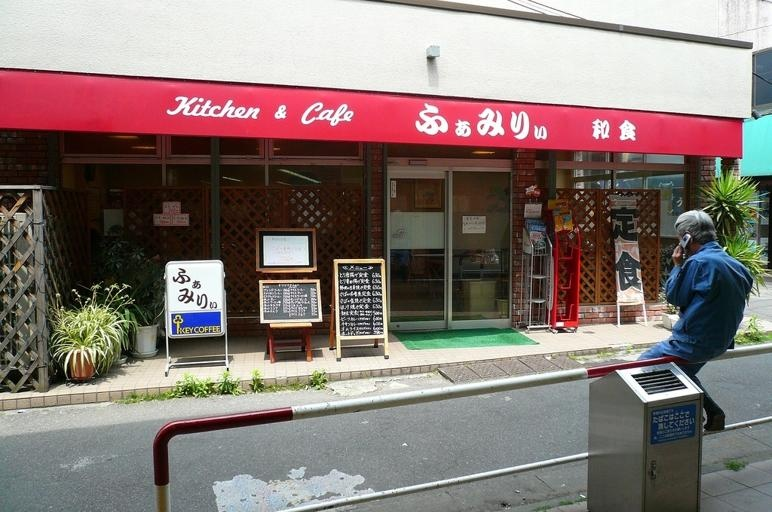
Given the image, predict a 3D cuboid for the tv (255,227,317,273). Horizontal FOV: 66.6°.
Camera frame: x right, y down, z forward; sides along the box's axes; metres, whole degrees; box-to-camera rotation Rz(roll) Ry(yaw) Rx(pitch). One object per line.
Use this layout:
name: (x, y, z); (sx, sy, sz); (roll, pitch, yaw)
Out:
tv: (-1.780, -0.098, 10.377); (0.840, 0.594, 0.090); (0, -2, -6)

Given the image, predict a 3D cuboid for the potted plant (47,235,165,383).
potted plant: (-4.466, 0.731, 9.553); (1.390, 2.502, 2.080); (-4, 1, -3)

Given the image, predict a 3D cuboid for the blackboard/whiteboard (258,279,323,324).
blackboard/whiteboard: (-1.633, 0.757, 9.987); (1.020, 0.736, 0.417); (-4, 1, -12)

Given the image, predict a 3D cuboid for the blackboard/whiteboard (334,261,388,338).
blackboard/whiteboard: (-0.435, 0.714, 10.139); (0.864, 1.298, 0.395); (-4, 1, -2)

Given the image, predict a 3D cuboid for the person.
person: (3.326, 0.629, 6.324); (1.132, 2.150, 0.961); (0, 1, -1)

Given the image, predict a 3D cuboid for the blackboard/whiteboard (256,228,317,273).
blackboard/whiteboard: (-1.773, -0.109, 10.366); (1.060, 0.777, 0.188); (-4, 1, -8)

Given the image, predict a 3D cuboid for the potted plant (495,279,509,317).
potted plant: (2.377, 0.878, 11.947); (0.289, 0.665, 0.116); (-4, 1, 10)

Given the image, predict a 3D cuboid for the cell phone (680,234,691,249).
cell phone: (3.116, -0.161, 6.084); (0.069, 0.124, 0.094); (-2, 27, -37)
